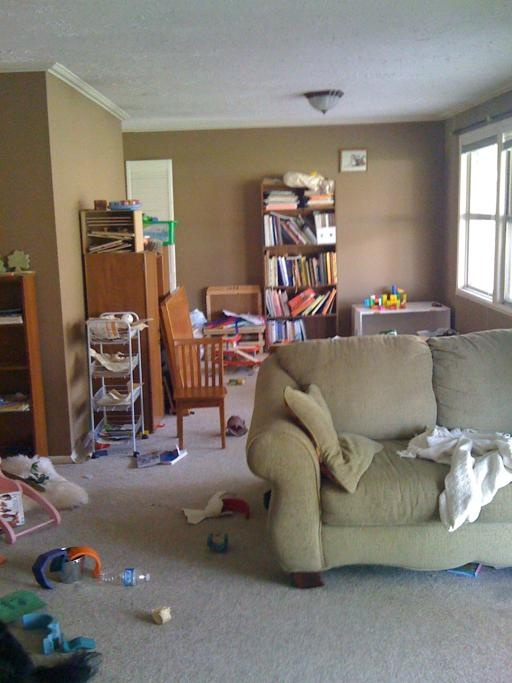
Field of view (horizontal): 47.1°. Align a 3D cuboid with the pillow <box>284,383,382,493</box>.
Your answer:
[{"bbox_3d":[0.325,0.353,2.358,0.331,0.346,0.407,6,13,35],"label":"pillow"}]

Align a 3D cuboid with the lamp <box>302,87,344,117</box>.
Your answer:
[{"bbox_3d":[0.511,-1.833,4.470,0.230,0.117,0.209,0,1,1],"label":"lamp"}]

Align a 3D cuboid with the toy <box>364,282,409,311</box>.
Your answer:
[{"bbox_3d":[1.414,-0.479,6.254,0.319,0.169,0.412,-3,2,17],"label":"toy"}]

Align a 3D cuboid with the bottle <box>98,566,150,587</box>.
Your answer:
[{"bbox_3d":[-0.530,0.935,2.359,0.214,0.050,0.117,-2,10,-2],"label":"bottle"}]

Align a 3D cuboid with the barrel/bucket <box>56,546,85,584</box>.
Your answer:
[{"bbox_3d":[-0.758,0.907,2.390,0.111,0.120,0.123,-6,11,-21],"label":"barrel/bucket"}]

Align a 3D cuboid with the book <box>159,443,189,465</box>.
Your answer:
[{"bbox_3d":[-0.522,0.713,3.695,0.164,0.042,0.250,-2,9,0],"label":"book"}]
